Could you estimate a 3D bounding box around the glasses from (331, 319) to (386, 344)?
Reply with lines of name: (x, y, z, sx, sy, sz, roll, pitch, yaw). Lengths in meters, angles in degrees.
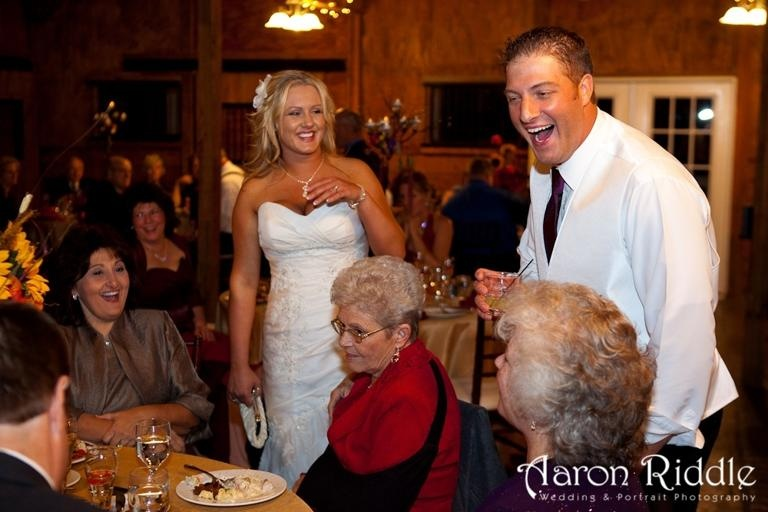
glasses: (-0.125, 0.299, 2.765, 0.120, 0.041, 0.119, -2, 14, -45)

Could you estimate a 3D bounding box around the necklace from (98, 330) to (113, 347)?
necklace: (-1.311, 0.391, 3.285, 0.042, 0.061, 0.035, -2, -25, -24)

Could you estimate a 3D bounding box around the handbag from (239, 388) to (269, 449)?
handbag: (-0.638, 0.811, 3.481, 0.064, 0.269, 0.180, -8, 8, -14)

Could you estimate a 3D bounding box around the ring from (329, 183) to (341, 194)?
ring: (-0.229, -0.313, 3.236, 0.031, 0.013, 0.043, -17, 47, -16)

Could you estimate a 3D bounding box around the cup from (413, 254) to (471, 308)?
cup: (0.463, 0.216, 5.204, 0.329, 0.295, 0.399, 0, -14, -3)

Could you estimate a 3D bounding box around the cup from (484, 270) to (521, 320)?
cup: (0.435, 0.138, 2.662, 0.127, 0.173, 0.152, 5, -1, 7)

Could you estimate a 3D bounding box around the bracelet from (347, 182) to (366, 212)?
bracelet: (-0.130, -0.278, 3.391, 0.037, 0.091, 0.106, 12, -46, -5)

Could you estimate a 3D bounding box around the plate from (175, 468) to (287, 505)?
plate: (-0.555, 0.855, 2.568, 0.395, 0.121, 0.238, 1, 0, 14)
